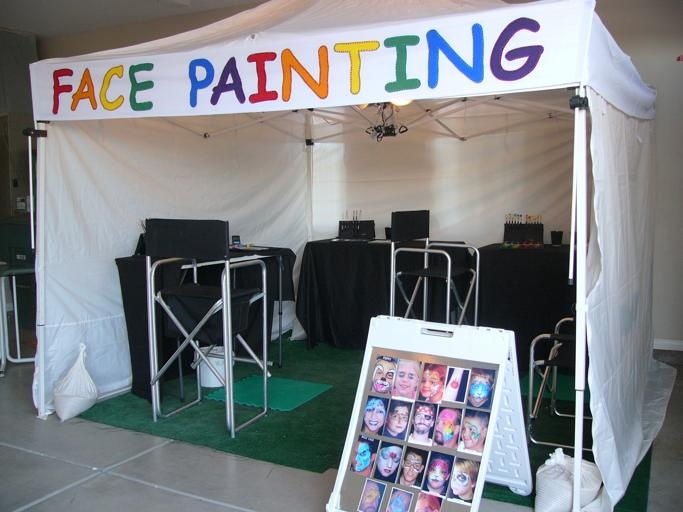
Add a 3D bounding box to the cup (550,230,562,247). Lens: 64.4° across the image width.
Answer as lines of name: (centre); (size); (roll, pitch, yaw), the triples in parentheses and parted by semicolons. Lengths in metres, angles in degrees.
cup: (2.055, -0.179, 5.174); (0.125, 0.125, 0.119); (0, 3, 0)
